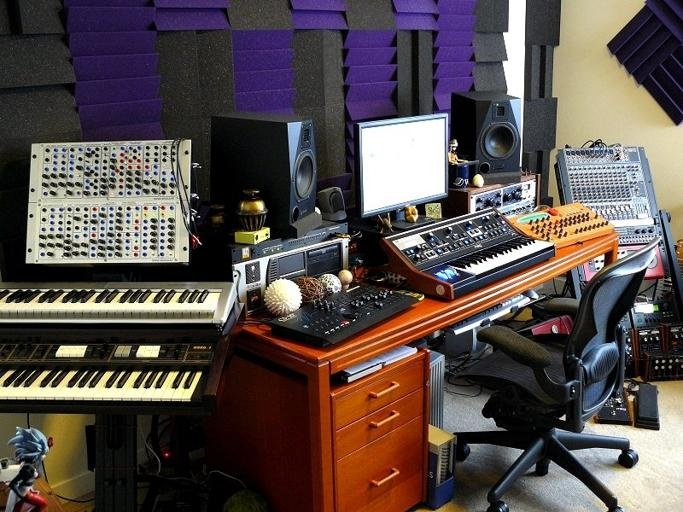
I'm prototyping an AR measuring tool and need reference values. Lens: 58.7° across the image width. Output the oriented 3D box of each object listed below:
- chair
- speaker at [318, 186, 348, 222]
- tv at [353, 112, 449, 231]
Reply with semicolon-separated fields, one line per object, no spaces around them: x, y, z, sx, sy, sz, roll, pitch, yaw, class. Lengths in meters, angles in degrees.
0.962;0.424;3.237;1.086;1.403;1.172;13;22;38;chair
-0.042;-0.261;2.990;0.173;0.196;0.119;7;21;26;speaker
0.300;-0.411;3.043;0.559;0.412;0.054;-17;21;-38;tv
